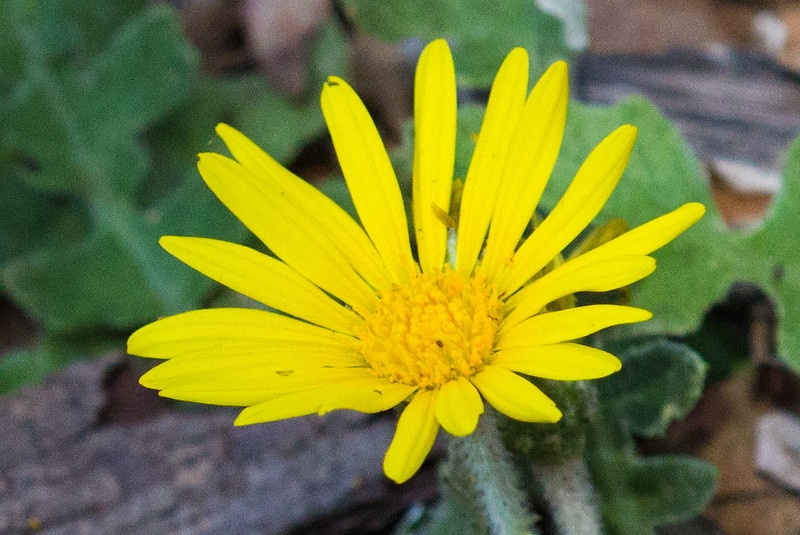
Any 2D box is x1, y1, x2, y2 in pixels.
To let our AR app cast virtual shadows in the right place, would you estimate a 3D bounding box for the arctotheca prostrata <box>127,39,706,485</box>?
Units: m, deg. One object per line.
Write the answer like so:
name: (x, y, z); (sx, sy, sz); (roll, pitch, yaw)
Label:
arctotheca prostrata: (0.050, 0.117, 1.006); (0.528, 0.197, 0.545); (31, 75, 31)
